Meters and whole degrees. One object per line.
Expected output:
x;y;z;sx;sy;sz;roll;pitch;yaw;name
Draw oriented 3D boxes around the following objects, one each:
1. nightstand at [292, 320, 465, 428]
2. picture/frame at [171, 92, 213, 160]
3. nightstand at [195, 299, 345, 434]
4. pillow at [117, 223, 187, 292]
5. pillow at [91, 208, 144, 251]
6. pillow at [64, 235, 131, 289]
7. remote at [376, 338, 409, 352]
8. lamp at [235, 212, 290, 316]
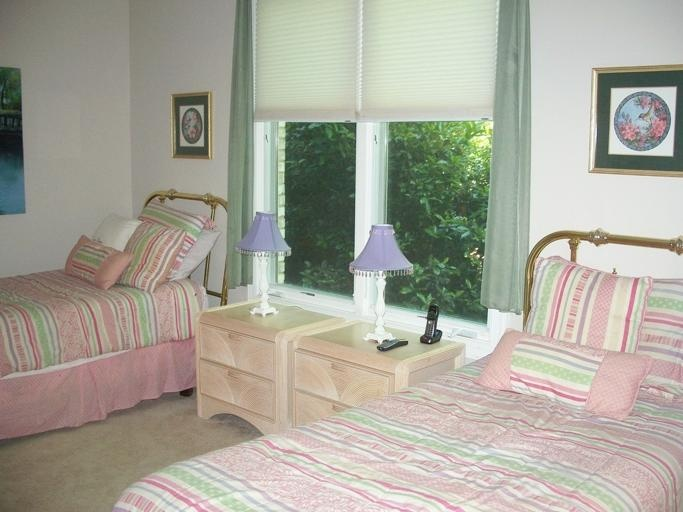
0.171;0.905;3.102;0.844;0.831;0.604;7;7;42;nightstand
-1.302;-1.167;4.560;0.586;0.705;0.030;7;10;43;picture/frame
-0.476;0.773;3.598;0.867;0.762;0.680;5;9;38;nightstand
-1.330;0.038;3.879;0.485;0.507;0.153;15;-11;41;pillow
-1.896;-0.266;4.246;0.252;0.124;0.405;12;21;11;pillow
-1.894;0.058;3.965;0.561;0.229;0.243;16;20;24;pillow
0.277;0.490;2.861;0.128;0.035;0.069;-9;12;-42;remote
-0.506;0.052;3.544;0.396;0.690;0.376;0;9;-24;lamp
